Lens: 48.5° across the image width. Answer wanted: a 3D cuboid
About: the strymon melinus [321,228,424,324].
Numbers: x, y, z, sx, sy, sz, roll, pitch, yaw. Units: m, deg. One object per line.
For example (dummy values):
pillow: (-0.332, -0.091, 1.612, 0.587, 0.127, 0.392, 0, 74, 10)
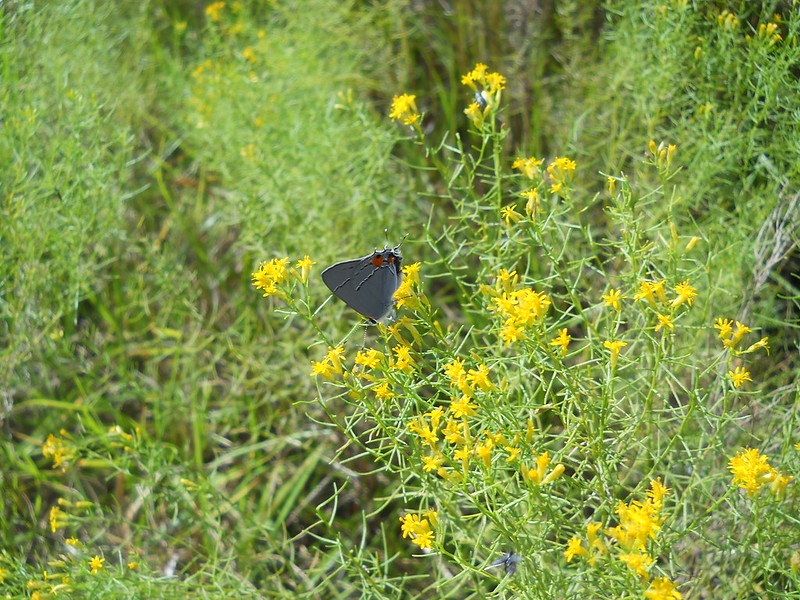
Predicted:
strymon melinus: (-0.129, -0.091, 3.308, 0.273, 0.314, 0.145, 2, 13, -38)
